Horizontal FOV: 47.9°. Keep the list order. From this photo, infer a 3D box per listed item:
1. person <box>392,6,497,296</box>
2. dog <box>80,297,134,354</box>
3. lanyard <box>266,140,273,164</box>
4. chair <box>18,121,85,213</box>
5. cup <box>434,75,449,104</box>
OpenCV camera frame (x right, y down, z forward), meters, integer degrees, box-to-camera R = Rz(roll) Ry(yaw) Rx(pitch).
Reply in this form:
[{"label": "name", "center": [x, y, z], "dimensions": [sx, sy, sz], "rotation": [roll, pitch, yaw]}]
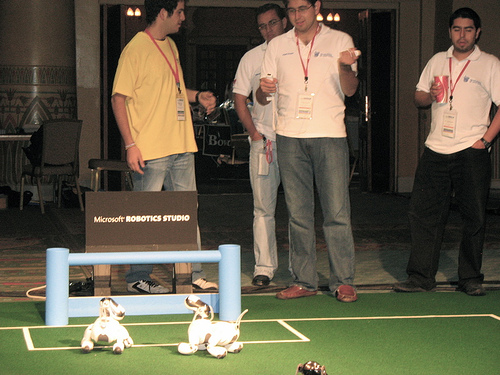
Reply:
[{"label": "person", "center": [1.456, -0.264, 4.158], "dimensions": [0.669, 2.068, 0.432], "rotation": [0, 4, 14]}, {"label": "dog", "center": [-0.752, 0.706, 2.978], "dimensions": [0.249, 0.256, 0.213], "rotation": [-2, -1, 1]}, {"label": "lanyard", "center": [0.154, -0.280, 4.391], "dimensions": [0.061, 0.182, 0.026], "rotation": [-3, 4, -23]}, {"label": "chair", "center": [-2.960, -0.315, 8.528], "dimensions": [0.786, 1.346, 0.377], "rotation": [-3, 4, -23]}, {"label": "cup", "center": [1.382, -0.712, 4.053], "dimensions": [0.097, 0.209, 0.186], "rotation": [1, 4, 20]}]
